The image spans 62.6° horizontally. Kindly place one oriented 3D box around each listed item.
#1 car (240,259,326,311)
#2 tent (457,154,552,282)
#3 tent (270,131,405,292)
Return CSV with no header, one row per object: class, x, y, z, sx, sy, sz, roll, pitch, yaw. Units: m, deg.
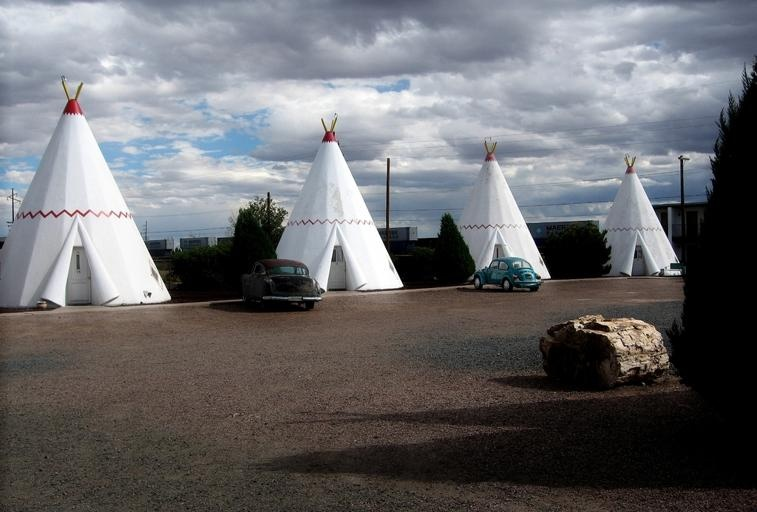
car,-2.782,0.738,16.628,1.207,0.721,2.009,0,4,-29
tent,5.653,-2.154,30.207,3.177,5.146,3.714,-9,13,-41
tent,-1.796,-2.763,24.690,4.842,5.114,4.794,0,23,2
